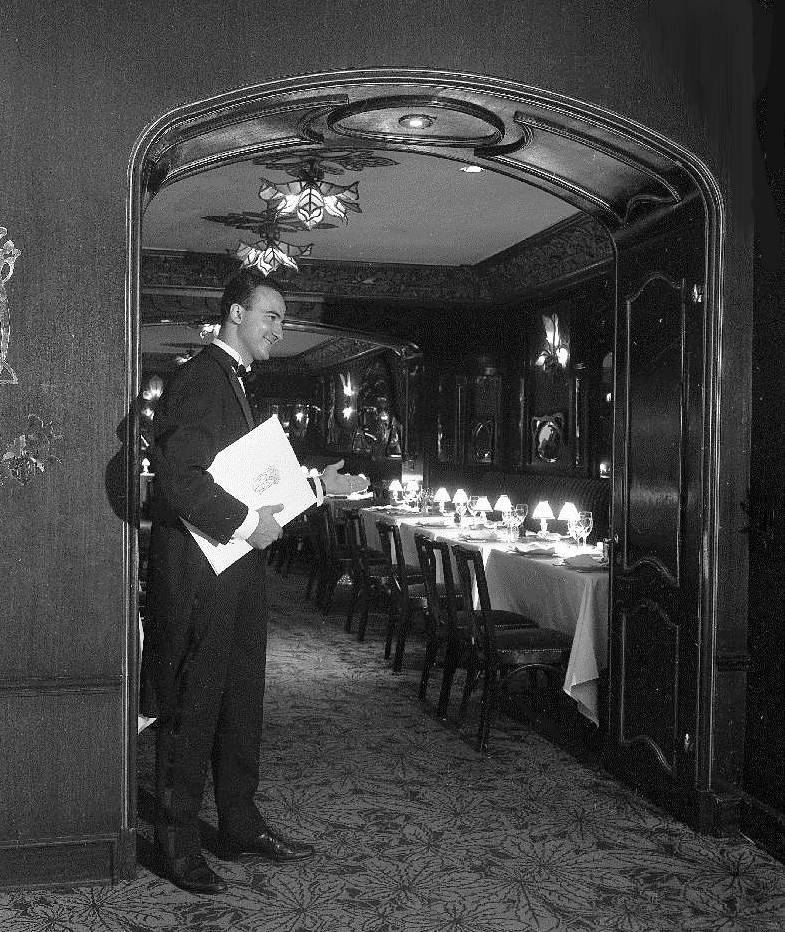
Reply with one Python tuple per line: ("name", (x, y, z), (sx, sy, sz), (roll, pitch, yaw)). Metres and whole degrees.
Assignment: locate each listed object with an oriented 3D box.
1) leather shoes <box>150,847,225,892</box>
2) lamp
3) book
("leather shoes", (-0.600, 1.163, 2.696), (0.235, 0.122, 0.091), (-6, -11, 38))
("lamp", (-0.437, -1.707, 5.969), (0.869, 0.637, 1.206), (1, -9, -19))
("book", (-0.393, 0.062, 2.600), (0.432, 0.344, 0.109), (-44, 24, -21))
